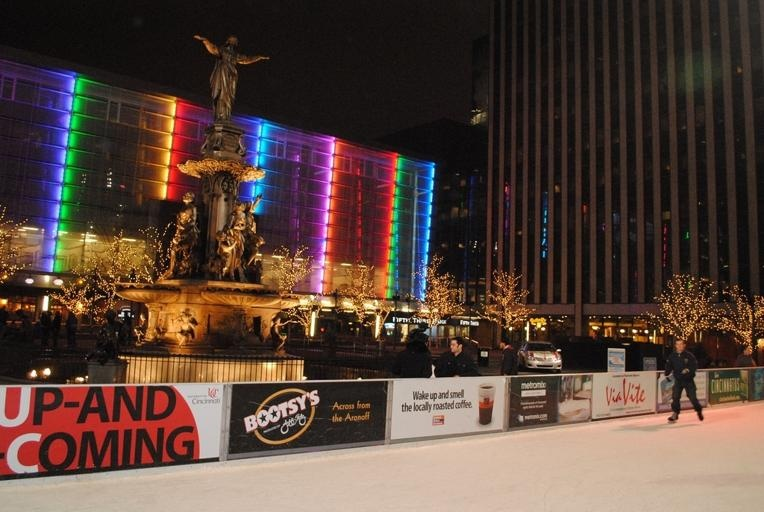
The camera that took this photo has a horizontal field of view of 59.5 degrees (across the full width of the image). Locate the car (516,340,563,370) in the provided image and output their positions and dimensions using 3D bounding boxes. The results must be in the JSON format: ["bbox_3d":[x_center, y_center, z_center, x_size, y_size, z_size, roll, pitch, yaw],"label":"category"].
[{"bbox_3d":[9.581,6.255,40.507,2.201,1.670,2.465,4,7,2],"label":"car"}]

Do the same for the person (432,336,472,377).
[{"bbox_3d":[2.285,3.208,20.765,1.488,1.329,0.922,-2,-5,28],"label":"person"}]
